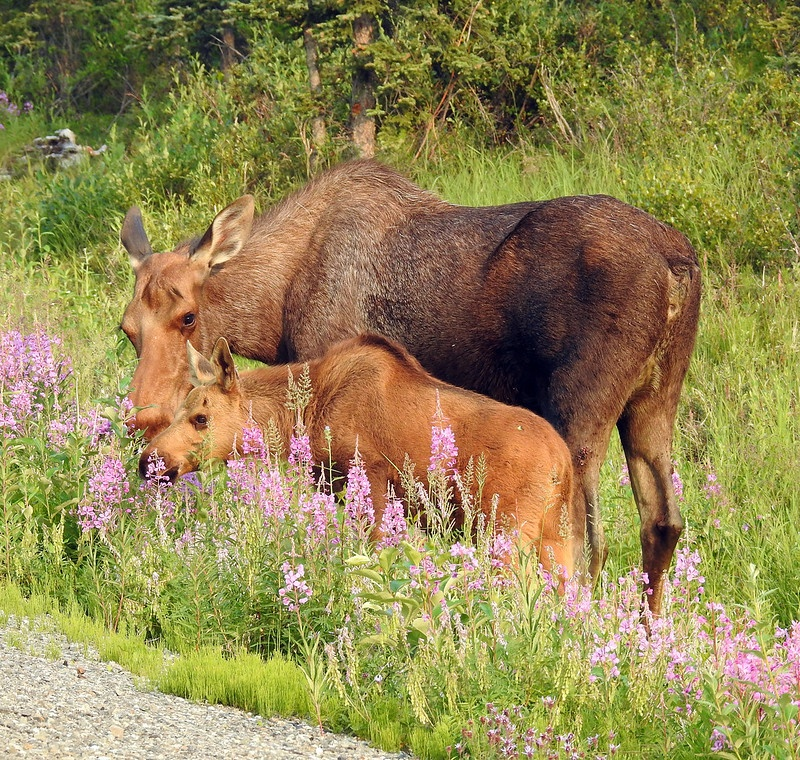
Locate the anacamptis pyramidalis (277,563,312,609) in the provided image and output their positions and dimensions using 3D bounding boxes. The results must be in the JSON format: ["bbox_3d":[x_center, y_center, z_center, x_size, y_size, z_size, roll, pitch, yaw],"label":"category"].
[{"bbox_3d":[-0.491,0.950,6.385,0.089,0.123,0.194,14,-43,4],"label":"anacamptis pyramidalis"}]

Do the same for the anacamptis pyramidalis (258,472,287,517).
[{"bbox_3d":[-0.627,0.565,6.811,0.148,0.234,0.363,3,1,-7],"label":"anacamptis pyramidalis"}]
